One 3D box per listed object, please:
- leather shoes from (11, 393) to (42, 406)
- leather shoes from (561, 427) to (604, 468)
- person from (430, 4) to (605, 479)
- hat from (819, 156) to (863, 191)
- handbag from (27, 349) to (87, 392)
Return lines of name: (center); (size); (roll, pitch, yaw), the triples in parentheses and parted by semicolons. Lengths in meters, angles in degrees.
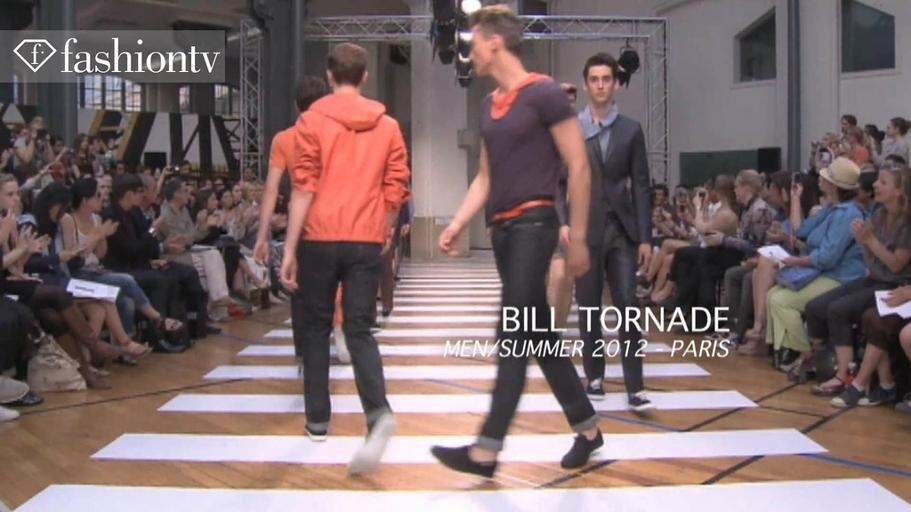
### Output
leather shoes: (-4.361, 1.469, 7.721); (0.259, 0.097, 0.093); (-2, 5, -17)
leather shoes: (1.119, 1.710, 6.674); (0.166, 0.395, 0.143); (46, 4, -34)
person: (0.571, -0.086, 6.346); (1.273, 4.008, 0.787); (2, 8, 10)
hat: (4.292, -0.910, 8.481); (0.404, 0.353, 0.221); (4, 8, 24)
handbag: (-4.261, 1.254, 8.296); (0.609, 0.562, 0.350); (1, 0, -15)
